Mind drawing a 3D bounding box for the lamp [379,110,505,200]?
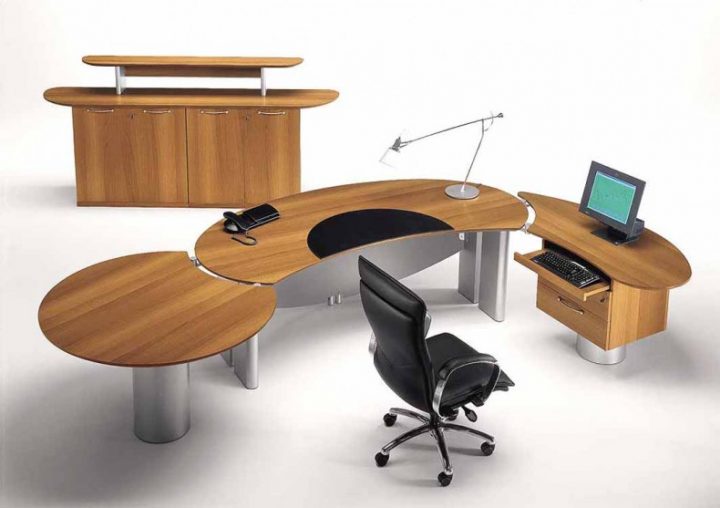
[{"bbox_3d":[0.662,-0.776,4.919,1.206,0.558,0.335,-9,21,-19],"label":"lamp"}]

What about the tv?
[{"bbox_3d":[1.904,-0.367,4.391,0.370,0.537,0.591,-20,28,-10],"label":"tv"}]

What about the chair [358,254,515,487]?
[{"bbox_3d":[0.479,0.765,3.779,1.076,1.251,0.873,-17,35,-20],"label":"chair"}]

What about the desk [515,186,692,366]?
[{"bbox_3d":[1.655,0.188,4.549,0.975,0.648,1.450,-13,27,-12],"label":"desk"}]

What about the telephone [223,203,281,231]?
[{"bbox_3d":[-0.778,-0.260,4.351,0.348,0.076,0.215,-17,32,-31],"label":"telephone"}]

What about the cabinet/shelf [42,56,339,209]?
[{"bbox_3d":[-1.858,-1.235,6.355,3.904,1.323,0.803,0,14,-2],"label":"cabinet/shelf"}]
